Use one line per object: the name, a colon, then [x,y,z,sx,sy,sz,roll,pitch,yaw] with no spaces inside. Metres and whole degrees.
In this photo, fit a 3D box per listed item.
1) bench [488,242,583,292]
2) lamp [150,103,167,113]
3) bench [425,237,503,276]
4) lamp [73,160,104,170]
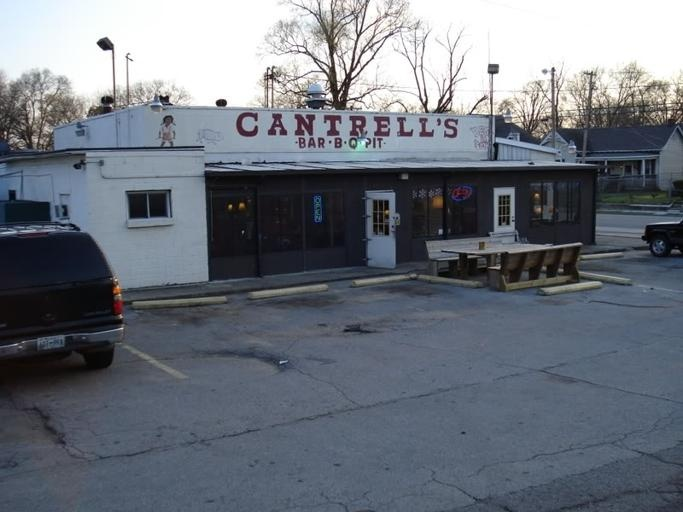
bench: [5.058,0.243,16.563,2.609,0.968,0.802,-5,6,-28]
lamp: [-5.543,-4.517,18.857,0.404,0.280,0.517,-2,9,-10]
bench: [3.787,0.013,18.034,2.863,0.927,0.701,-5,15,-30]
lamp: [-6.548,-2.382,16.109,0.908,0.249,0.386,3,10,26]
